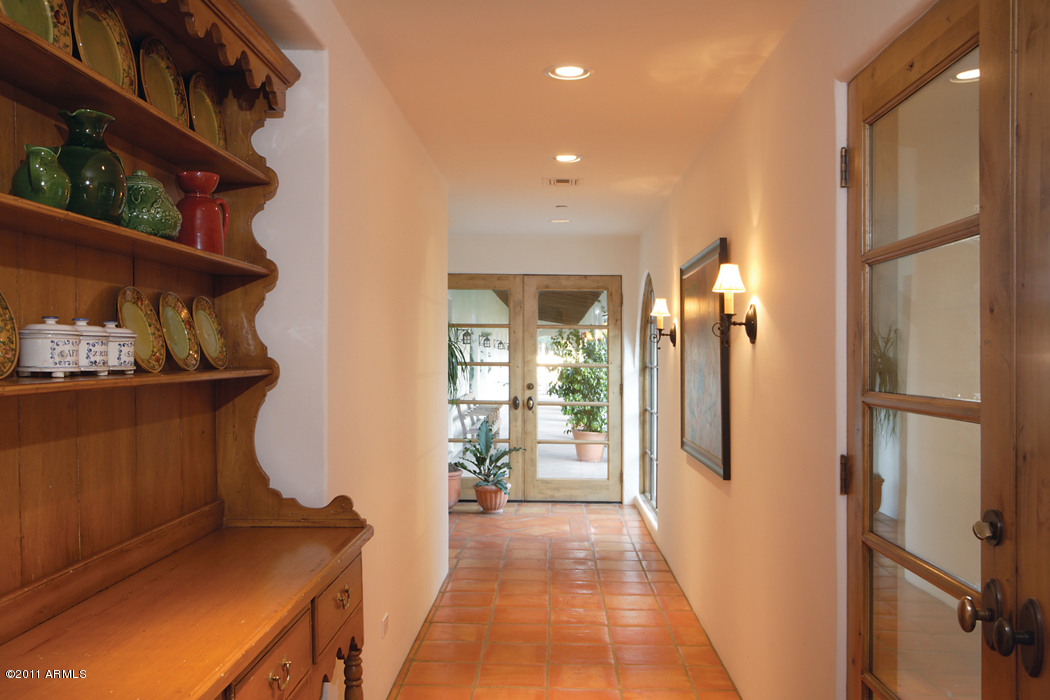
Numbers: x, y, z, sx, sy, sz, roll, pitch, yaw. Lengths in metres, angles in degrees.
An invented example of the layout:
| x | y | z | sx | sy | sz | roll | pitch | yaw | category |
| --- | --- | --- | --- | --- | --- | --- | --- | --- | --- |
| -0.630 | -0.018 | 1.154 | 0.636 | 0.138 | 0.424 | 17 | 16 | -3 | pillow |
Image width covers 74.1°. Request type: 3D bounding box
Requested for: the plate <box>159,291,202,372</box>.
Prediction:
| x | y | z | sx | sy | sz | roll | pitch | yaw | category |
| --- | --- | --- | --- | --- | --- | --- | --- | --- | --- |
| -1.206 | -0.067 | 2.433 | 0.029 | 0.230 | 0.221 | -15 | -1 | 15 | plate |

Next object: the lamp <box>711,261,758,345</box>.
| x | y | z | sx | sy | sz | roll | pitch | yaw | category |
| --- | --- | --- | --- | --- | --- | --- | --- | --- | --- |
| 1.024 | -0.214 | 3.423 | 0.187 | 0.410 | 0.192 | -3 | 5 | 4 | lamp |

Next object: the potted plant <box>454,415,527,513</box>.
| x | y | z | sx | sy | sz | roll | pitch | yaw | category |
| --- | --- | --- | --- | --- | --- | --- | --- | --- | --- |
| -0.403 | 1.155 | 7.097 | 0.673 | 0.875 | 0.635 | 1 | 2 | 10 | potted plant |
